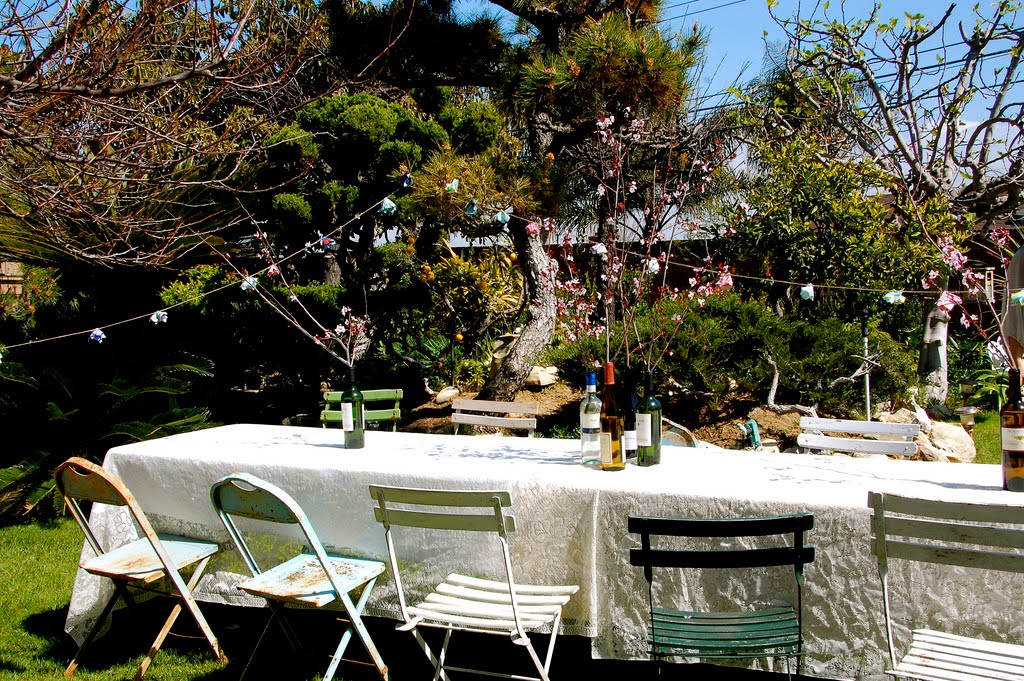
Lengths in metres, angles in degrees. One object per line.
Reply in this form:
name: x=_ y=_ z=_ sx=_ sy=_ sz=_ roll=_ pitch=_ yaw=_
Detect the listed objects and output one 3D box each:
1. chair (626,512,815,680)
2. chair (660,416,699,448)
chair: x=1.178 y=1.383 z=5.914 sx=0.698 sy=1.025 sz=0.414 roll=-1 pitch=17 yaw=5
chair: x=1.217 y=0.691 z=7.830 sx=0.252 sy=0.312 sz=0.204 roll=3 pitch=-19 yaw=-7
